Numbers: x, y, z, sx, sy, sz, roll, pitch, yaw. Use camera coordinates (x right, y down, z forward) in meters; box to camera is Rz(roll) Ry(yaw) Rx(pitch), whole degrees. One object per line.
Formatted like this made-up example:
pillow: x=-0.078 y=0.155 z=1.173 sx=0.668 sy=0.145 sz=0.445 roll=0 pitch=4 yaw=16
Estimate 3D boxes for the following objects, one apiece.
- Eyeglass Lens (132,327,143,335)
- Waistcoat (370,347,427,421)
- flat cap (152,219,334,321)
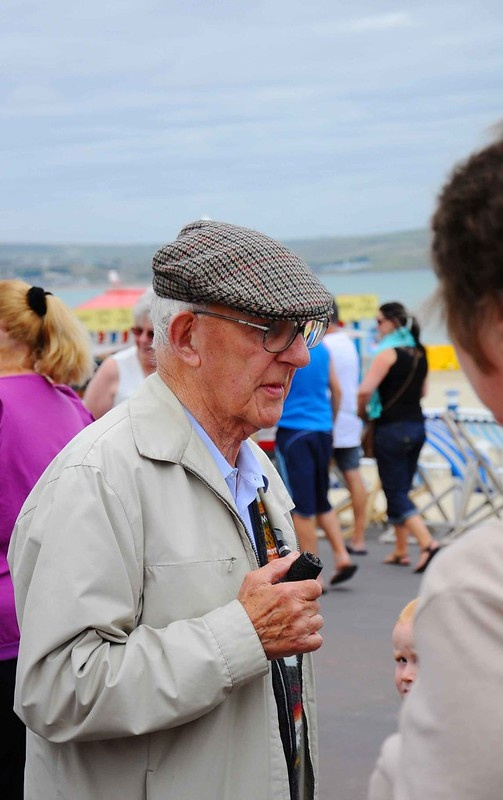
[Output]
Eyeglass Lens: x=-0.525 y=-0.314 z=4.805 sx=0.044 sy=0.031 sz=0.044 roll=-1 pitch=4 yaw=7
Waistcoat: x=0.902 y=-0.193 z=6.796 sx=0.244 sy=0.304 sz=0.425 roll=20 pitch=-20 yaw=9
flat cap: x=-0.026 y=-0.250 z=2.069 sx=0.267 sy=0.099 sz=0.231 roll=10 pitch=9 yaw=14
